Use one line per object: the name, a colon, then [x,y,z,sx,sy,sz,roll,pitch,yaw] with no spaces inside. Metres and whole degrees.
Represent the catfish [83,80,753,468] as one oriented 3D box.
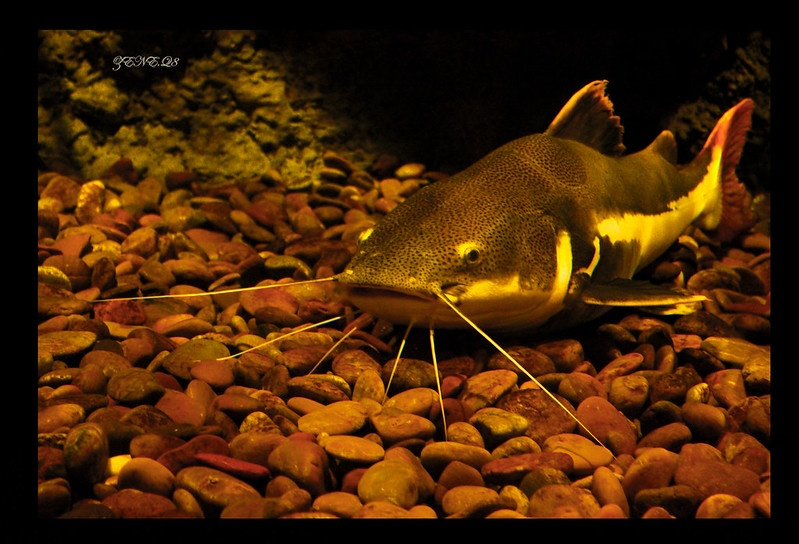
catfish: [0.966,-0.328,3.871,2.701,1.112,1.006,-14,38,-34]
